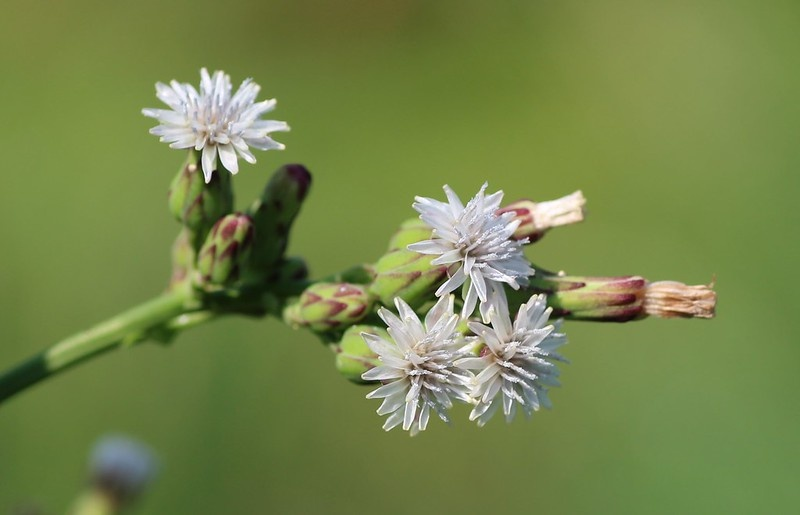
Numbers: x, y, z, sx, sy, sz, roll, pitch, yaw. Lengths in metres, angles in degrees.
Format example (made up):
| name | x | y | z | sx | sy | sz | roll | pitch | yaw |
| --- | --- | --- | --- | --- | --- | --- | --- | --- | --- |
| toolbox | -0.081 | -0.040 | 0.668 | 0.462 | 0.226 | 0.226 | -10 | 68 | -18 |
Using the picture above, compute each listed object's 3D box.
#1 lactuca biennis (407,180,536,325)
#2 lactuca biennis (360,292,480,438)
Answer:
| name | x | y | z | sx | sy | sz | roll | pitch | yaw |
| --- | --- | --- | --- | --- | --- | --- | --- | --- | --- |
| lactuca biennis | 0.232 | -0.048 | 2.825 | 0.388 | 0.190 | 0.428 | -22 | -70 | 8 |
| lactuca biennis | 0.071 | 0.381 | 2.836 | 0.416 | 0.182 | 0.485 | 5 | -79 | -22 |
